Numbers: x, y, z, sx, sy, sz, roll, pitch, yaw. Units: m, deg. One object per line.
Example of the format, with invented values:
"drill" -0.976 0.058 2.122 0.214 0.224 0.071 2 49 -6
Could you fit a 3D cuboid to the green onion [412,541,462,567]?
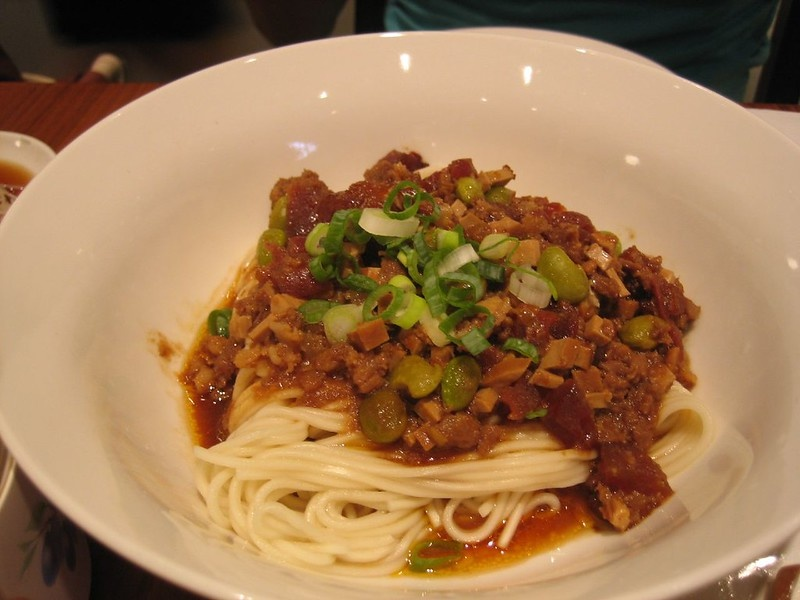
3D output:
"green onion" 0.230 1.587 4.479 0.206 0.041 0.161 -4 28 -3
